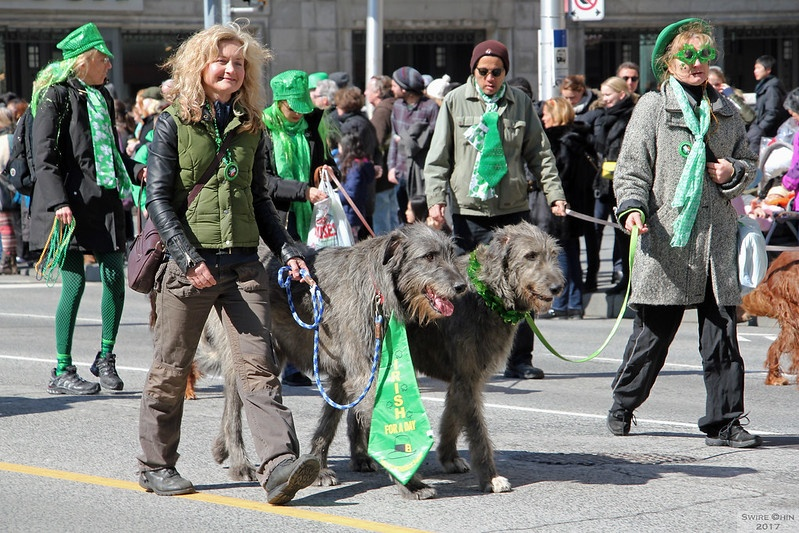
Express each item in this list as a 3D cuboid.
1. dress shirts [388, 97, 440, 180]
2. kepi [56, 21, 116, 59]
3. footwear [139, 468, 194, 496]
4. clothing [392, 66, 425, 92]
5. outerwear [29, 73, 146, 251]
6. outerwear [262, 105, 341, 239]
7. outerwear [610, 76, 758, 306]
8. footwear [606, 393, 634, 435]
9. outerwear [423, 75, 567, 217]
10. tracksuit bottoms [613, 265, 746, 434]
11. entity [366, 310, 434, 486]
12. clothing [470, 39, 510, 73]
[{"bbox_3d":[0.155,-1.810,18.293,0.670,1.118,0.926,-12,15,-40],"label":"dress shirts"},{"bbox_3d":[-3.210,-2.288,13.285,0.529,0.269,0.372,-1,10,-1],"label":"kepi"},{"bbox_3d":[-1.925,1.802,10.974,0.482,0.213,0.202,-1,4,24],"label":"footwear"},{"bbox_3d":[0.129,-2.611,18.175,0.345,0.138,0.397,-5,39,-30],"label":"clothing"},{"bbox_3d":[-3.463,-1.069,13.607,1.045,1.729,1.356,-3,-4,10],"label":"outerwear"},{"bbox_3d":[-0.992,-0.937,12.997,0.763,1.205,0.304,-6,-3,-27],"label":"outerwear"},{"bbox_3d":[2.679,-0.524,12.055,1.435,2.462,1.000,-3,7,-7],"label":"outerwear"},{"bbox_3d":[2.071,1.382,12.402,0.175,0.201,0.454,7,38,-12],"label":"footwear"},{"bbox_3d":[0.920,-1.230,13.391,1.564,1.401,0.789,-3,15,-17],"label":"outerwear"},{"bbox_3d":[2.713,0.840,12.516,1.150,1.963,0.576,15,-13,5],"label":"tracksuit bottoms"},{"bbox_3d":[0.004,1.134,10.944,0.537,1.413,0.425,0,12,-3],"label":"entity"},{"bbox_3d":[0.925,-2.133,13.236,0.369,0.262,0.353,1,2,-3],"label":"clothing"}]
